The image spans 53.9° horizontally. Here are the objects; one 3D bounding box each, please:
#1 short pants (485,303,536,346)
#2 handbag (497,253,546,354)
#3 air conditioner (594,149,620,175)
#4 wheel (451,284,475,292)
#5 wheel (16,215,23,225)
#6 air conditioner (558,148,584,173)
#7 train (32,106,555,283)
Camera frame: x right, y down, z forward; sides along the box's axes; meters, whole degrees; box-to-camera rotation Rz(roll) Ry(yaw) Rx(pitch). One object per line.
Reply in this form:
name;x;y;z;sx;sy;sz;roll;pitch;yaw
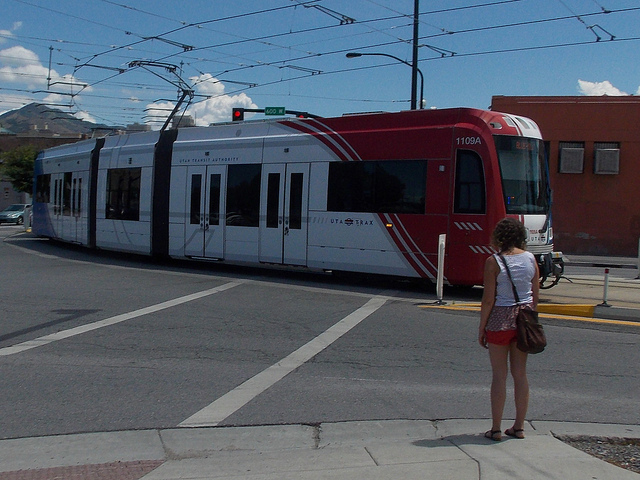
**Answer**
short pants;1.797;0.786;5.920;0.519;0.378;0.252;0;0;-14
handbag;1.888;0.609;5.921;0.436;0.904;0.250;2;8;13
air conditioner;12.537;-3.429;27.624;1.308;1.226;0.777;2;7;10
wheel;3.114;1.046;13.858;0.425;0.097;0.820;2;7;13
wheel;-20.693;-1.379;43.777;0.278;0.541;0.491;0;7;-3
air conditioner;11.339;-3.551;28.367;1.276;0.982;1.118;2;2;7
train;-2.643;-1.210;18.881;19.843;3.844;4.920;4;5;42
